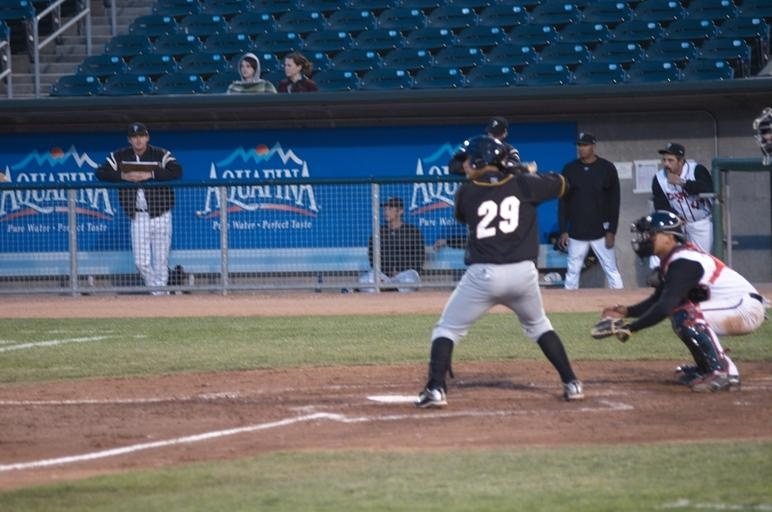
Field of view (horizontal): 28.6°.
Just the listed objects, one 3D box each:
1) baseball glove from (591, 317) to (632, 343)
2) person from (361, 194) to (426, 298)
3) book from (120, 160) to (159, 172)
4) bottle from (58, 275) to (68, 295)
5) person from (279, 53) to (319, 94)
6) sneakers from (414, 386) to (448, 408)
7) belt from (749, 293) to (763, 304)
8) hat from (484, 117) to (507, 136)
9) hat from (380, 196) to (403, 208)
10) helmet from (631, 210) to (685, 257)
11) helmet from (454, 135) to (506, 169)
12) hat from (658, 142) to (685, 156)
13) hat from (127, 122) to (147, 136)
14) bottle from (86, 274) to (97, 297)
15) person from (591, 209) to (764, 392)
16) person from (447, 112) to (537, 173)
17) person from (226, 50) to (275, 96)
[{"bbox_3d":[2.554,0.819,17.252,0.578,0.201,0.188,3,4,3],"label":"baseball glove"},{"bbox_3d":[0.213,-0.168,20.668,0.612,1.240,0.404,-4,16,0],"label":"person"},{"bbox_3d":[-3.400,-1.250,20.853,0.319,0.059,0.195,1,-21,-7],"label":"book"},{"bbox_3d":[-4.395,0.396,20.790,0.178,0.261,0.123,-3,16,4],"label":"bottle"},{"bbox_3d":[-1.284,-2.637,21.919,0.811,0.593,0.436,5,13,42],"label":"person"},{"bbox_3d":[0.517,1.579,16.916,0.453,0.167,0.162,-1,1,28],"label":"sneakers"},{"bbox_3d":[4.250,0.468,17.339,0.126,0.031,0.132,20,7,12],"label":"belt"},{"bbox_3d":[1.470,-1.712,19.795,0.280,0.268,0.309,3,-5,4],"label":"hat"},{"bbox_3d":[0.095,-0.739,20.666,0.275,0.143,0.060,1,-14,11],"label":"hat"},{"bbox_3d":[3.093,-0.265,17.359,0.654,0.435,0.488,-1,2,-19],"label":"helmet"},{"bbox_3d":[0.977,-1.206,17.115,0.782,0.378,0.515,-3,6,-11],"label":"helmet"},{"bbox_3d":[3.886,-1.431,20.319,0.381,0.156,0.240,10,1,-7],"label":"hat"},{"bbox_3d":[-3.418,-1.761,20.822,0.249,0.141,0.300,-3,-2,-9],"label":"hat"},{"bbox_3d":[-4.051,0.395,20.761,0.172,0.281,0.061,-5,16,-7],"label":"bottle"},{"bbox_3d":[3.434,0.508,17.207,1.682,2.011,0.660,-1,16,10],"label":"person"},{"bbox_3d":[1.205,-1.170,17.298,0.993,0.354,0.579,-3,6,-14],"label":"person"},{"bbox_3d":[-1.933,-2.616,21.821,0.777,0.534,0.322,2,4,23],"label":"person"}]
